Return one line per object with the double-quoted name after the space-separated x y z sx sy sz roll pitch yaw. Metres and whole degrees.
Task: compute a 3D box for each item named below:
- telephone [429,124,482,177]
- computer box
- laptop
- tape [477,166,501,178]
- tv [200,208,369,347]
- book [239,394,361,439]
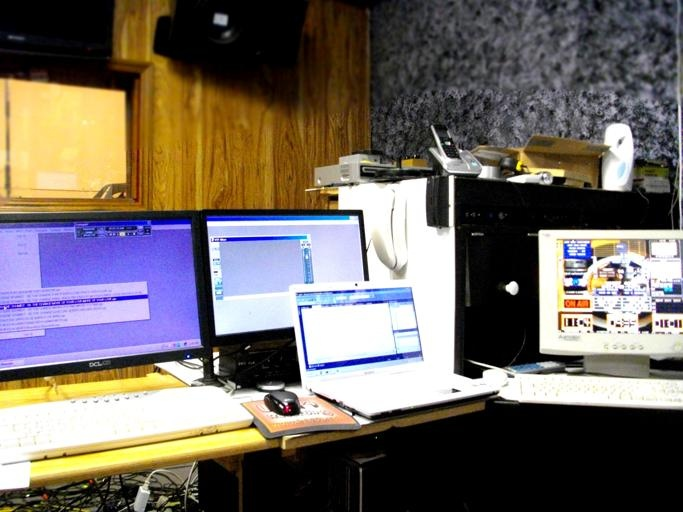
0.410 -0.377 2.088 0.191 0.195 0.179 1 2 7 "telephone"
0.398 0.030 2.226 0.560 0.967 0.745 -4 5 -36 "computer box"
0.104 0.201 1.761 0.482 0.286 0.422 0 1 -37 "laptop"
0.539 -0.303 2.162 0.065 0.028 0.065 6 9 35 "tape"
-0.198 0.076 1.849 0.456 0.296 0.022 -4 -8 -30 "tv"
-0.114 0.427 1.603 0.272 0.056 0.248 0 2 -20 "book"
